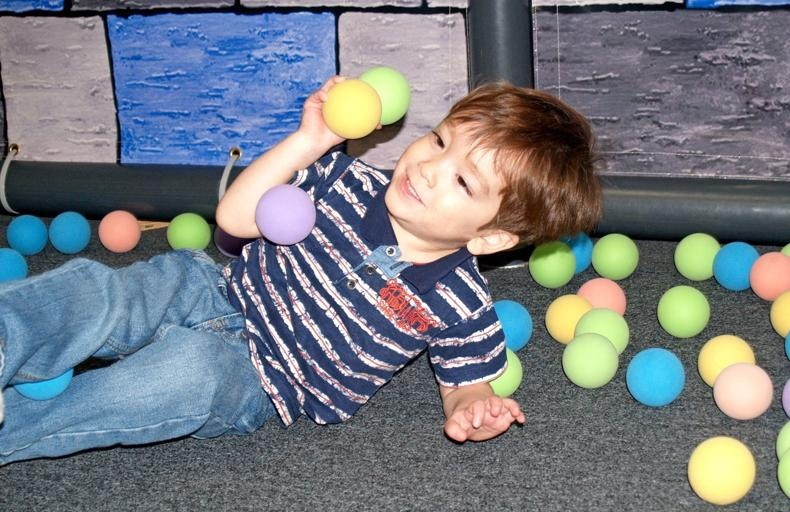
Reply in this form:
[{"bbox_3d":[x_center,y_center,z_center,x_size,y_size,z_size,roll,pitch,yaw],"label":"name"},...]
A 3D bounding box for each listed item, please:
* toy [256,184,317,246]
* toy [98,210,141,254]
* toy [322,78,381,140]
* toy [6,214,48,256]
[{"bbox_3d":[-0.306,-0.113,2.065,0.197,0.165,0.156,-20,87,-10],"label":"toy"},{"bbox_3d":[-1.052,-0.077,2.845,0.173,0.188,0.155,15,84,-10],"label":"toy"},{"bbox_3d":[-0.117,-0.411,2.081,0.173,0.199,0.158,10,96,-37],"label":"toy"},{"bbox_3d":[-1.433,-0.075,2.790,0.122,0.099,0.107,41,57,14],"label":"toy"}]
